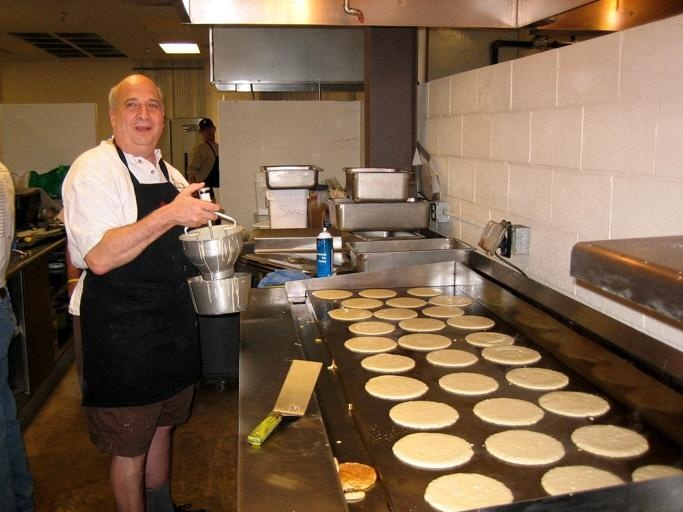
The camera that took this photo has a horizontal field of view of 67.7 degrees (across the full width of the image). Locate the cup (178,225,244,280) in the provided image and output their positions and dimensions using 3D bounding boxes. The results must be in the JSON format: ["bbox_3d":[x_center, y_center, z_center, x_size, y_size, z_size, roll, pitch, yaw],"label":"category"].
[{"bbox_3d":[-0.426,-0.025,1.790,0.234,0.140,0.213,-7,8,1],"label":"cup"}]

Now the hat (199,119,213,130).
[{"bbox_3d":[-1.808,-1.762,6.813,0.164,0.110,0.241,-3,26,-19],"label":"hat"}]

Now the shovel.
[{"bbox_3d":[-0.143,0.368,1.320,0.095,0.038,0.317,1,22,22],"label":"shovel"}]

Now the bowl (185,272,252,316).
[{"bbox_3d":[-0.428,0.120,1.840,0.241,0.113,0.225,-2,8,0],"label":"bowl"}]

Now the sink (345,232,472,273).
[{"bbox_3d":[0.344,-0.017,2.560,0.481,0.090,0.246,-3,9,-7],"label":"sink"}]
